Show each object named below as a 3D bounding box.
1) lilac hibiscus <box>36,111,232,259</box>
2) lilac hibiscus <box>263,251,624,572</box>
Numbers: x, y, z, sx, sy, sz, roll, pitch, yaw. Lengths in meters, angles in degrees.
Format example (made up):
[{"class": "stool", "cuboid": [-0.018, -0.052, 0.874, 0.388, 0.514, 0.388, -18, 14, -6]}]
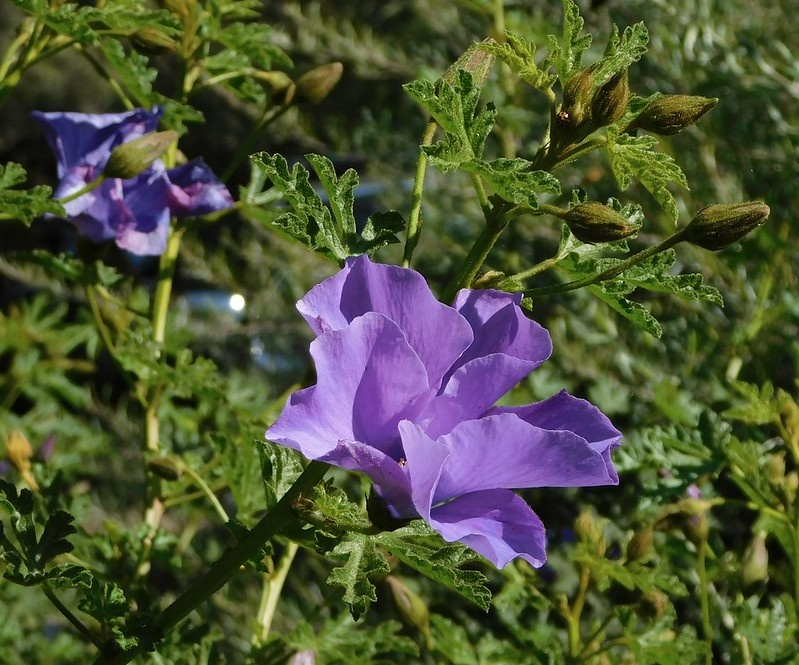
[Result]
[{"class": "lilac hibiscus", "cuboid": [-0.366, -0.212, 1.328, 0.231, 0.170, 0.206, -21, 67, -34]}, {"class": "lilac hibiscus", "cuboid": [-0.015, 0.065, 1.182, 0.216, 0.339, 0.404, 64, 21, -4]}]
